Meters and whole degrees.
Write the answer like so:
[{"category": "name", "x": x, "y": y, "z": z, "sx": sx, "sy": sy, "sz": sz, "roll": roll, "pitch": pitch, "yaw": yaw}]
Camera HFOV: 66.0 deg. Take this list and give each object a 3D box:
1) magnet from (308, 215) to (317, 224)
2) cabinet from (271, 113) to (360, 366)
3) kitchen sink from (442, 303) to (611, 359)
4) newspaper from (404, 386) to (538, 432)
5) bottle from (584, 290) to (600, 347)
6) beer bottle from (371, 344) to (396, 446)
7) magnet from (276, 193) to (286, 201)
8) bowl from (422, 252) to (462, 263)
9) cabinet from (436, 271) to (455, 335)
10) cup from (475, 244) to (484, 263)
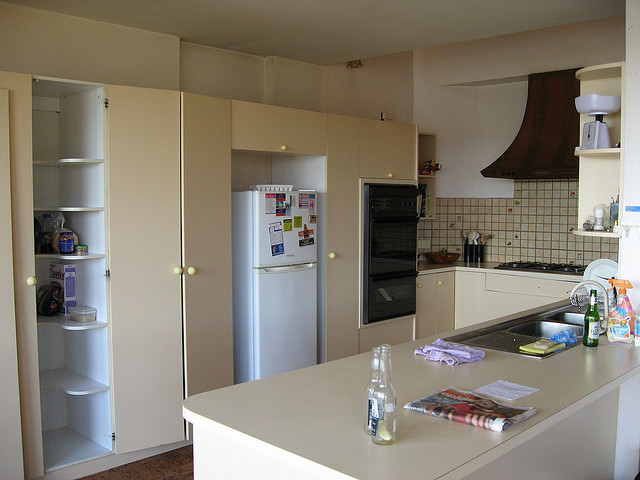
[{"category": "magnet", "x": -0.070, "y": -0.175, "z": 4.179, "sx": 0.022, "sy": 0.059, "sz": 0.070, "roll": 6, "pitch": 9, "yaw": 44}, {"category": "cabinet", "x": -0.020, "y": 0.027, "z": 4.484, "sx": 0.472, "sy": 2.304, "sz": 0.656, "roll": -2, "pitch": 4, "yaw": -41}, {"category": "kitchen sink", "x": 1.250, "y": 0.547, "z": 2.862, "sx": 1.138, "sy": 0.157, "sz": 0.506, "roll": -6, "pitch": 8, "yaw": -39}, {"category": "newspaper", "x": 0.570, "y": 0.635, "z": 1.885, "sx": 0.444, "sy": 0.042, "sz": 0.245, "roll": 3, "pitch": 7, "yaw": 33}, {"category": "bottle", "x": 1.481, "y": 0.409, "z": 2.676, "sx": 0.075, "sy": 0.300, "sz": 0.194, "roll": 2, "pitch": 7, "yaw": 30}, {"category": "beer bottle", "x": 0.216, "y": 0.531, "z": 1.706, "sx": 0.096, "sy": 0.304, "sz": 0.101, "roll": 1, "pitch": 0, "yaw": 0}, {"category": "magnet", "x": -0.312, "y": -0.339, "z": 3.964, "sx": 0.060, "sy": 0.057, "sz": 0.040, "roll": -6, "pitch": 7, "yaw": -43}, {"category": "bowl", "x": 1.400, "y": 0.197, "z": 5.665, "sx": 0.416, "sy": 0.113, "sz": 0.282, "roll": 0, "pitch": 6, "yaw": 11}, {"category": "cabinet", "x": 1.369, "y": 0.700, "z": 5.346, "sx": 0.196, "sy": 0.596, "sz": 0.160, "roll": 6, "pitch": -14, "yaw": -5}, {"category": "cup", "x": 1.821, "y": 0.156, "z": 5.609, "sx": 0.103, "sy": 0.197, "sz": 0.108, "roll": -1, "pitch": 6, "yaw": 0}]
